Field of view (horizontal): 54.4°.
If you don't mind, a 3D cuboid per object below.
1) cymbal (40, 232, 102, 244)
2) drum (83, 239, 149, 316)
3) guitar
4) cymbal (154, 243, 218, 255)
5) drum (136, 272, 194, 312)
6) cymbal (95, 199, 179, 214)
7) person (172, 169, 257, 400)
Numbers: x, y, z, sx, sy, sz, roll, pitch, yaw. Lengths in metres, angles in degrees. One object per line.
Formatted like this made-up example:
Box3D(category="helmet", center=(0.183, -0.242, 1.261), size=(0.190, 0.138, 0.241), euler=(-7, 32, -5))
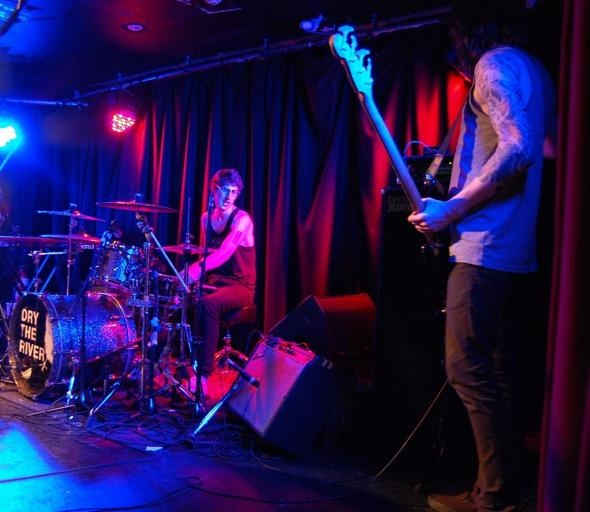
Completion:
Box3D(category="cymbal", center=(-1.764, -0.143, 4.552), size=(0.206, 0.050, 0.208), euler=(10, 1, -4))
Box3D(category="drum", center=(-1.249, 0.158, 3.943), size=(0.450, 0.446, 0.418), euler=(5, -11, 27))
Box3D(category="guitar", center=(0.465, -0.444, 2.705), size=(0.507, 1.399, 1.297), euler=(1, 3, 9))
Box3D(category="cymbal", center=(-0.763, -0.052, 3.876), size=(0.243, 0.057, 0.250), euler=(12, 11, 44))
Box3D(category="drum", center=(-0.860, 0.239, 3.858), size=(0.303, 0.130, 0.318), euler=(16, -21, 6))
Box3D(category="cymbal", center=(-1.297, -0.417, 4.821), size=(0.362, 0.074, 0.356), euler=(10, 1, -26))
Box3D(category="person", center=(-0.520, 0.174, 4.145), size=(0.479, 1.653, 1.281), euler=(1, 3, -7))
